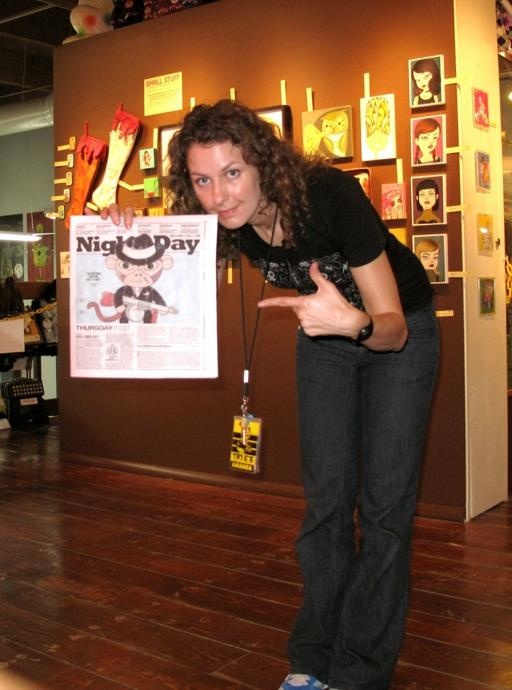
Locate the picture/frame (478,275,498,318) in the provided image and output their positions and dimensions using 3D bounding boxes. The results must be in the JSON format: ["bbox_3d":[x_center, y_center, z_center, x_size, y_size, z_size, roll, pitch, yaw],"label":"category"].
[{"bbox_3d":[1.121,-0.238,2.706,0.025,0.218,0.228,-2,0,34],"label":"picture/frame"}]

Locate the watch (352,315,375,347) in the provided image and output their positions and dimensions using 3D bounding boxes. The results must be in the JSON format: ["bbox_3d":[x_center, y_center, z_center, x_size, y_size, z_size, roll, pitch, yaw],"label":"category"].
[{"bbox_3d":[0.173,-0.019,0.871,0.022,0.037,0.029,28,-13,-31],"label":"watch"}]
